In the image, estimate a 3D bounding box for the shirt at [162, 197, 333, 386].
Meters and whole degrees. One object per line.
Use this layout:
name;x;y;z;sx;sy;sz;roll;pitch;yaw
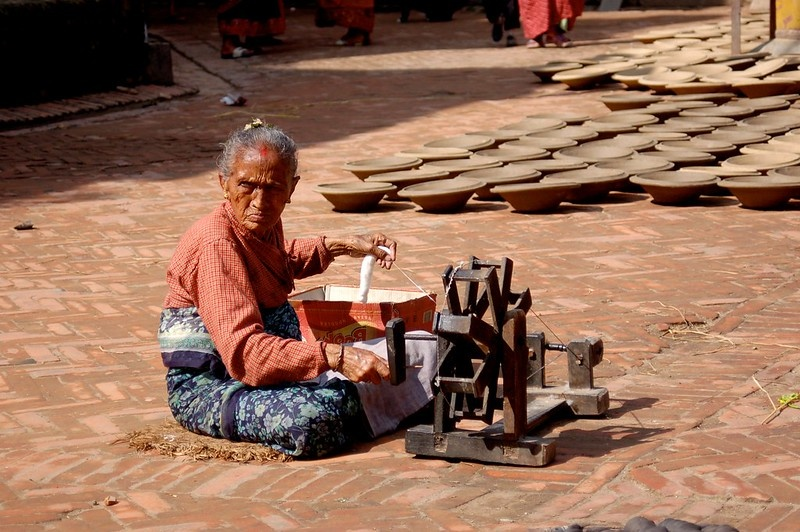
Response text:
shirt;-0.881;0.156;6.257;0.780;0.967;0.666;-7;18;-9

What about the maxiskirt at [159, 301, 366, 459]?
maxiskirt;-0.762;0.608;6.600;1.401;0.488;1.244;0;0;8
